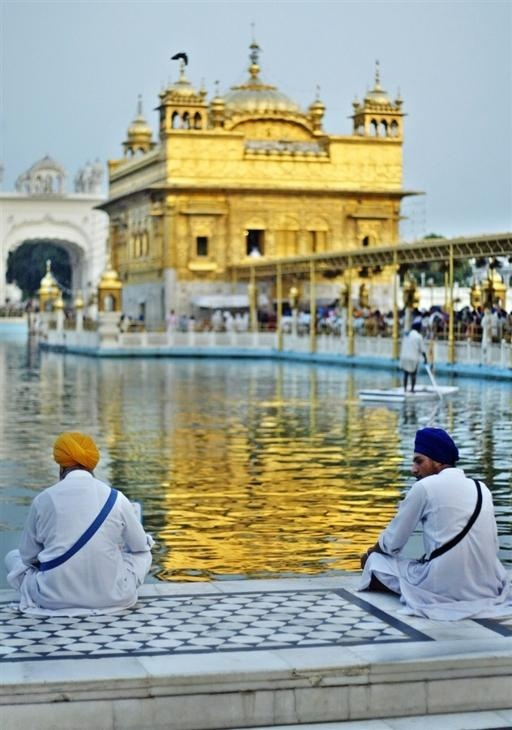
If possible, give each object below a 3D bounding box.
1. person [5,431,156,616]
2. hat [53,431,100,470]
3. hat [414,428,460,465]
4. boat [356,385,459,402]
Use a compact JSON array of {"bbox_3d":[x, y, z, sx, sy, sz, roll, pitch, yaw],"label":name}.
[{"bbox_3d":[-0.728,0.682,8.291,0.639,0.988,0.602,1,0,-4],"label":"person"},{"bbox_3d":[-0.774,0.380,8.256,0.127,0.156,0.174,-2,25,-16],"label":"hat"},{"bbox_3d":[0.783,0.358,8.357,0.157,0.145,0.140,21,2,7],"label":"hat"},{"bbox_3d":[1.603,0.340,20.327,0.827,0.171,1.467,-1,-1,29],"label":"boat"}]
